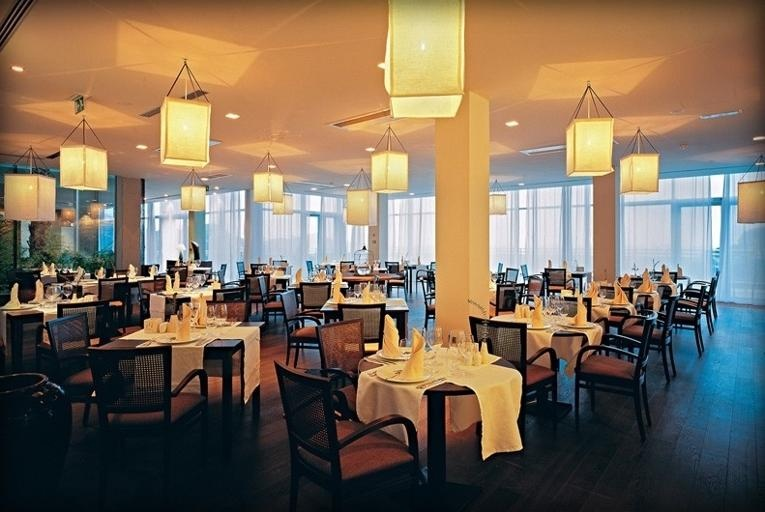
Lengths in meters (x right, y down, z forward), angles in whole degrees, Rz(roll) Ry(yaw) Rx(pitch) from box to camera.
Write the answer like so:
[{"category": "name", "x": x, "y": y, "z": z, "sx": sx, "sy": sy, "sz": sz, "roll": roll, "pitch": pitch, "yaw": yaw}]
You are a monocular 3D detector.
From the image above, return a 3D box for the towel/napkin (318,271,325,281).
[{"category": "towel/napkin", "x": -1.291, "y": 0.446, "z": 11.504, "sx": 0.141, "sy": 0.208, "sz": 0.612, "roll": -2, "pitch": 14, "yaw": -9}]

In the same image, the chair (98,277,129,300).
[{"category": "chair", "x": -4.889, "y": 0.604, "z": 9.828, "sx": 0.308, "sy": 0.518, "sz": 0.358, "roll": 0, "pitch": 10, "yaw": -28}]

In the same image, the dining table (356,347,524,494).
[{"category": "dining table", "x": 0.588, "y": 1.459, "z": 5.581, "sx": 1.435, "sy": 0.968, "sz": 1.402, "roll": -4, "pitch": 6, "yaw": -26}]

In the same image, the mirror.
[{"category": "mirror", "x": -7.228, "y": -0.797, "z": 12.177, "sx": 0.159, "sy": 2.807, "sz": 2.596, "roll": -4, "pitch": -5, "yaw": 32}]

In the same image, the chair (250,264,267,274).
[{"category": "chair", "x": -3.192, "y": 0.324, "z": 13.938, "sx": 0.287, "sy": 0.255, "sz": 0.153, "roll": 0, "pitch": 0, "yaw": -2}]

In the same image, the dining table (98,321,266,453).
[{"category": "dining table", "x": -2.142, "y": 1.358, "z": 6.432, "sx": 1.400, "sy": 1.028, "sz": 1.331, "roll": 1, "pitch": 2, "yaw": 20}]

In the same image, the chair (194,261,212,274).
[{"category": "chair", "x": -5.212, "y": 0.308, "z": 15.661, "sx": 0.393, "sy": 0.528, "sz": 0.405, "roll": 1, "pitch": -3, "yaw": 2}]

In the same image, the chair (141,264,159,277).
[{"category": "chair", "x": -5.648, "y": 0.342, "z": 13.122, "sx": 0.282, "sy": 0.339, "sz": 0.306, "roll": -1, "pitch": -8, "yaw": 2}]

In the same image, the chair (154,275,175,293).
[{"category": "chair", "x": -4.106, "y": 0.533, "z": 10.152, "sx": 0.231, "sy": 0.406, "sz": 0.432, "roll": 3, "pitch": -14, "yaw": -9}]

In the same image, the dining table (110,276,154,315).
[{"category": "dining table", "x": -4.696, "y": 0.710, "z": 10.141, "sx": 0.793, "sy": 0.730, "sz": 0.599, "roll": 6, "pitch": 7, "yaw": 39}]

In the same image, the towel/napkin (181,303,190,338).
[{"category": "towel/napkin", "x": -2.290, "y": 0.756, "z": 6.269, "sx": 0.129, "sy": 0.369, "sz": 0.301, "roll": -5, "pitch": 15, "yaw": -16}]

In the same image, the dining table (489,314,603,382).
[{"category": "dining table", "x": 2.353, "y": 1.060, "z": 7.040, "sx": 0.955, "sy": 0.450, "sz": 0.940, "roll": -4, "pitch": 6, "yaw": -32}]

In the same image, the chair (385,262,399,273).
[{"category": "chair", "x": 0.322, "y": 0.311, "z": 14.969, "sx": 0.305, "sy": 0.418, "sz": 0.313, "roll": 1, "pitch": -2, "yaw": -17}]

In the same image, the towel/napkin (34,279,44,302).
[{"category": "towel/napkin", "x": -5.216, "y": 0.522, "z": 8.188, "sx": 0.113, "sy": 0.296, "sz": 0.290, "roll": -7, "pitch": 16, "yaw": -24}]

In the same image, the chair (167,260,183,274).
[{"category": "chair", "x": -5.279, "y": 0.267, "z": 13.731, "sx": 0.360, "sy": 0.385, "sz": 0.366, "roll": 0, "pitch": 1, "yaw": 2}]

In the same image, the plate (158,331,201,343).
[{"category": "plate", "x": -2.382, "y": 0.921, "z": 6.277, "sx": 0.528, "sy": 0.076, "sz": 0.265, "roll": 2, "pitch": 14, "yaw": 7}]

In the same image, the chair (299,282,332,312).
[{"category": "chair", "x": -1.179, "y": 0.674, "z": 9.596, "sx": 0.461, "sy": 0.767, "sz": 0.532, "roll": 2, "pitch": 16, "yaw": -2}]
